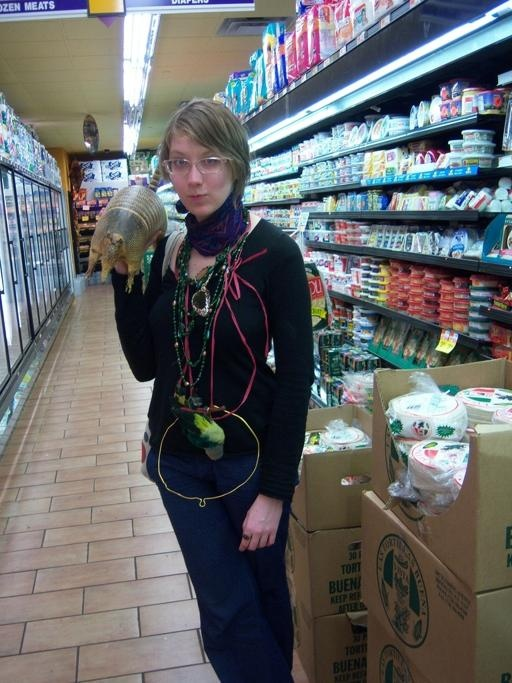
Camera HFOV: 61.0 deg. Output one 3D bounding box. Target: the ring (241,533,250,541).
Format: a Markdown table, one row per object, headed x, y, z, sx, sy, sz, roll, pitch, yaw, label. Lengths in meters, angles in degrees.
| x | y | z | sx | sy | sz | roll | pitch | yaw | label |
| --- | --- | --- | --- | --- | --- | --- | --- | --- | --- |
| -0.021 | 0.339 | 0.747 | 0.012 | 0.011 | 0.003 | 20 | 32 | 11 | ring |
